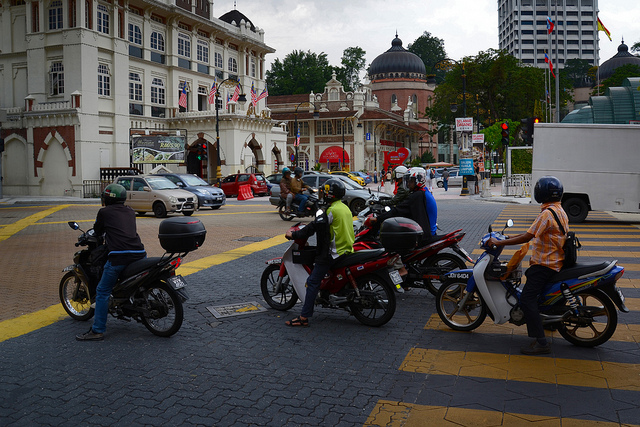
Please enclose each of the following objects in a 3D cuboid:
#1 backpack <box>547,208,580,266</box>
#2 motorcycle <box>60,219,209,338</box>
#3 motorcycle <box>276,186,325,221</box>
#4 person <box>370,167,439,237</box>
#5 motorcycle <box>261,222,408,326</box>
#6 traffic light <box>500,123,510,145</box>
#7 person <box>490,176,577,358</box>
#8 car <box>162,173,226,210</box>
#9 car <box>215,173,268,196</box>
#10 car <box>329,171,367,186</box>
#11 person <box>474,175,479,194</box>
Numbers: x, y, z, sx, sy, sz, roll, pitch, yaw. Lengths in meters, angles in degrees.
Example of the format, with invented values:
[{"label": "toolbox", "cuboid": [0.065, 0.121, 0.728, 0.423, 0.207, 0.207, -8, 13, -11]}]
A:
[{"label": "backpack", "cuboid": [3.551, 0.350, 7.778, 0.418, 0.812, 0.622, 1, 1, 23]}, {"label": "motorcycle", "cuboid": [-3.059, 1.000, 8.575, 2.919, 1.855, 0.993, 3, 3, 26]}, {"label": "motorcycle", "cuboid": [-0.620, -0.354, 20.515, 2.230, 1.285, 0.882, 0, -8, 26]}, {"label": "person", "cuboid": [1.601, -0.023, 10.280, 1.340, 1.746, 0.825, 1, 14, 13]}, {"label": "motorcycle", "cuboid": [0.123, 0.910, 8.953, 2.691, 1.572, 1.101, 4, 14, 34]}, {"label": "traffic light", "cuboid": [10.813, -4.627, 31.045, 0.388, 1.232, 0.749, 2, 9, 18]}, {"label": "person", "cuboid": [3.160, 0.742, 7.638, 0.996, 2.482, 0.548, -3, 9, -13]}, {"label": "car", "cuboid": [-6.583, -1.208, 28.133, 3.060, 1.429, 1.730, 4, 6, 35]}, {"label": "car", "cuboid": [-5.703, -2.243, 40.187, 2.989, 1.389, 1.866, 4, 7, 16]}, {"label": "car", "cuboid": [1.846, -3.041, 44.599, 3.472, 1.169, 1.595, 1, 8, 9]}, {"label": "person", "cuboid": [11.238, -2.050, 38.405, 0.243, 1.244, 1.015, 2, 9, 16]}]
